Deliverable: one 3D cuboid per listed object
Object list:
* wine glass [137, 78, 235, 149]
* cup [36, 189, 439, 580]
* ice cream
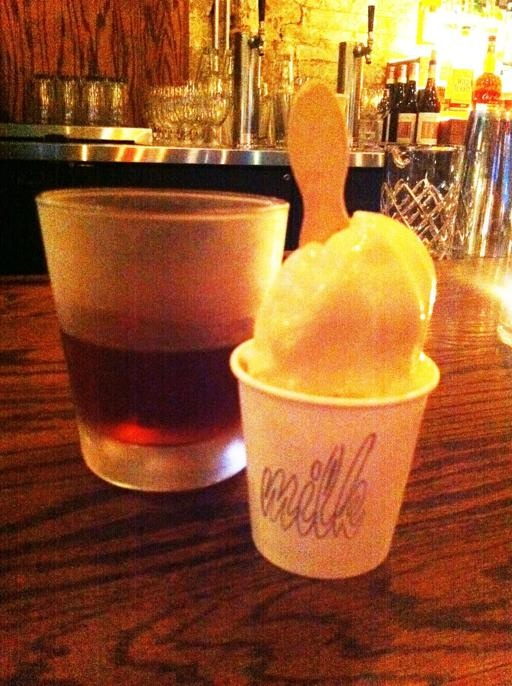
[{"bbox_3d":[-0.275,-0.886,2.574,0.329,0.242,0.292,-3,26,-6],"label":"wine glass"},{"bbox_3d":[-0.014,-0.002,0.321,0.186,0.120,0.116,15,20,40],"label":"cup"},{"bbox_3d":[0.027,0.007,0.316,0.109,0.178,0.115,2,12,8],"label":"ice cream"}]
